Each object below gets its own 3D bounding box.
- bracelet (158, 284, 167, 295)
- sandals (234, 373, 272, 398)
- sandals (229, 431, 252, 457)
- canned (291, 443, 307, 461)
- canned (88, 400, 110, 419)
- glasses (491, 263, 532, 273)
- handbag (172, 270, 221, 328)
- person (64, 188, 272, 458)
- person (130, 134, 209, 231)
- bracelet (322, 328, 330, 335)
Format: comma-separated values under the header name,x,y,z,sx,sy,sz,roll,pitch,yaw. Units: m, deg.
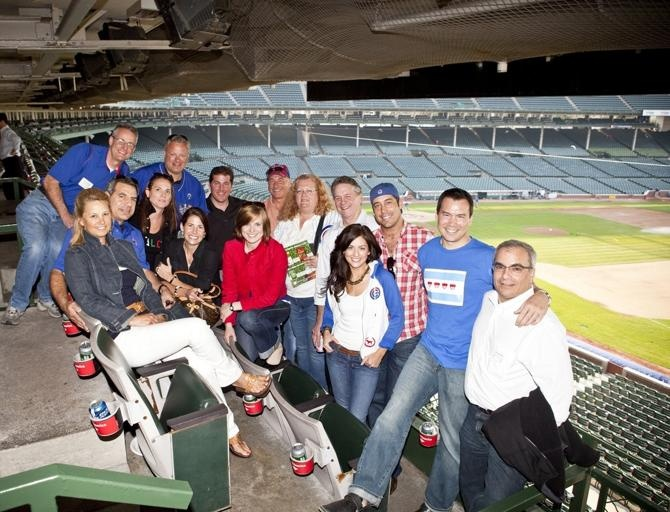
name,x,y,z,sx,sy,sz,roll,pitch,yaw
bracelet,-1.540,0.296,3.799,0.066,0.030,0.077,1,42,0
sandals,-0.603,0.954,3.219,0.282,0.147,0.085,4,4,5
sandals,-0.706,1.326,3.025,0.105,0.111,0.292,-1,-8,-36
canned,-0.236,1.251,2.770,0.106,0.155,0.094,-2,36,-6
canned,-1.332,0.863,2.414,0.102,0.077,0.096,8,8,-33
glasses,1.072,0.071,2.551,0.208,0.052,0.087,13,6,18
handbag,-1.234,0.368,3.736,0.404,0.390,0.232,29,-26,14
person,-1.189,0.393,3.122,1.440,1.773,0.823,12,32,34
person,-1.726,-0.700,4.449,0.855,0.962,0.353,0,11,-32
bracelet,-0.072,0.611,3.471,0.051,0.038,0.059,1,-9,4
